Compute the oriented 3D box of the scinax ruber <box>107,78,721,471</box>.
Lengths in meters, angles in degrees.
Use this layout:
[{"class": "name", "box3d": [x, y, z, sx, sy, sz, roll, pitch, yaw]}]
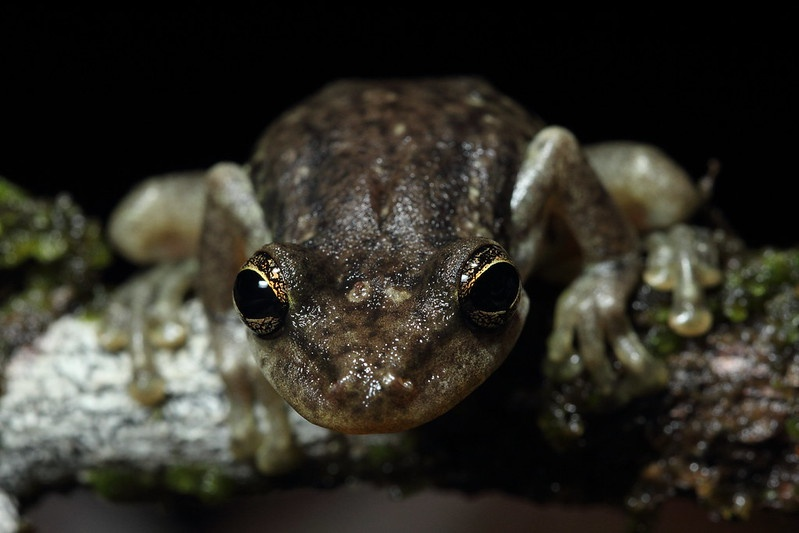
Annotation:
[{"class": "scinax ruber", "box3d": [0.174, -0.047, 4.034, 2.497, 1.032, 1.861, -23, 82, -4]}]
